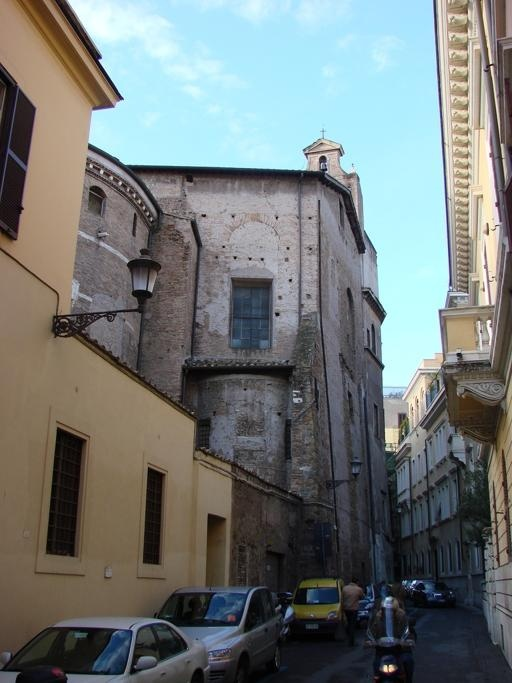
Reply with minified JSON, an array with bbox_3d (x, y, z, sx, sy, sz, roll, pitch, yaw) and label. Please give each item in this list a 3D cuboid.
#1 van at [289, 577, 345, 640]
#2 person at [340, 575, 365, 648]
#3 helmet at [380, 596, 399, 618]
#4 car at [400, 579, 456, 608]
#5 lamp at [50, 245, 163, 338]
[{"bbox_3d":[1.857,7.399,16.087,1.484,1.624,3.192,-8,-24,16],"label":"van"},{"bbox_3d":[2.402,6.667,14.350,0.523,1.477,2.074,-3,-19,9],"label":"person"},{"bbox_3d":[1.477,2.900,6.351,0.118,0.168,0.161,-3,18,7],"label":"helmet"},{"bbox_3d":[9.666,14.251,32.669,1.901,1.412,4.657,-2,-19,5],"label":"car"},{"bbox_3d":[-1.832,-0.594,7.213,1.284,1.407,0.480,3,-27,-6],"label":"lamp"}]
